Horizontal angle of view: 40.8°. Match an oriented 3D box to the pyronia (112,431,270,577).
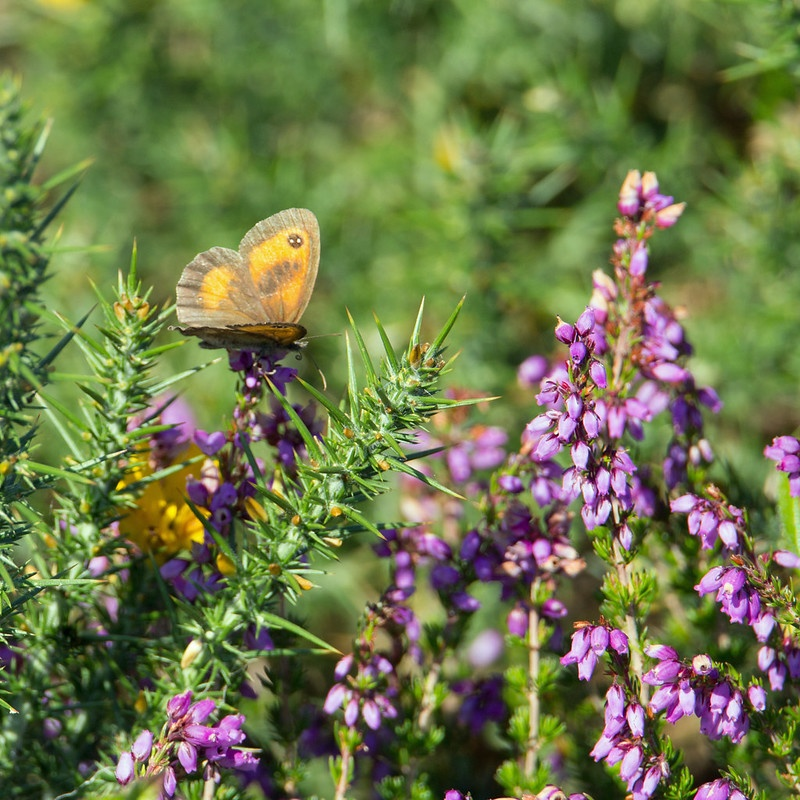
[{"bbox_3d":[-0.487,0.265,2.384,0.294,0.140,0.290,-34,77,-10],"label":"pyronia"}]
